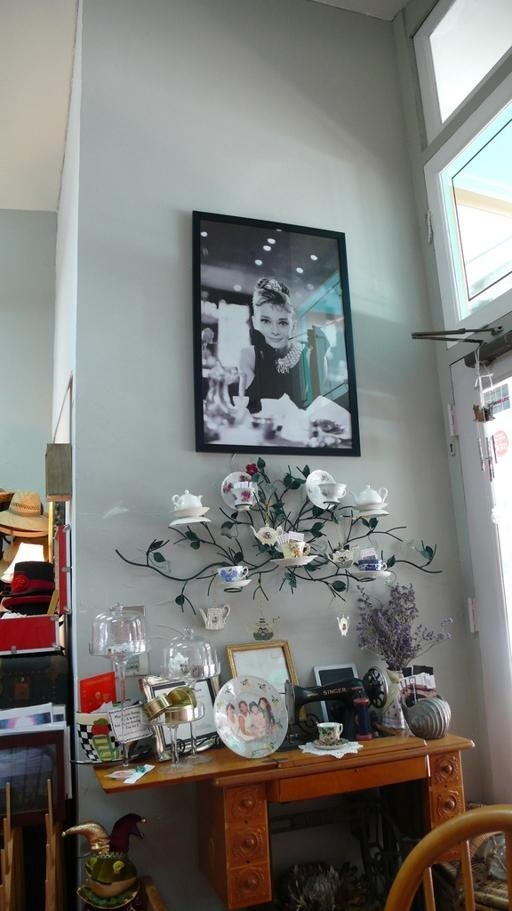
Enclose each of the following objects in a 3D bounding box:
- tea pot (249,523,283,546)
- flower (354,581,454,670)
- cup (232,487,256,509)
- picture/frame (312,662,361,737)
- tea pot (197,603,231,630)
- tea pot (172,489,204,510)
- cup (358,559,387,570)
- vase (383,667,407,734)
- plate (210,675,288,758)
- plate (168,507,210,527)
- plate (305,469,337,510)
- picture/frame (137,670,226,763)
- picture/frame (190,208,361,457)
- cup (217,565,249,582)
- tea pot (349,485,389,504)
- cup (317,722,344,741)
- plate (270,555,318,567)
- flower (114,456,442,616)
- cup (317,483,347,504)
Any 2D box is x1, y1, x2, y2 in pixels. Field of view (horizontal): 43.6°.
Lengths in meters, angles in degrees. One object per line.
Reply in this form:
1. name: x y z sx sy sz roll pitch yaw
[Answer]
1. tea pot: 0.050 0.295 2.436 0.086 0.082 0.037 14 -11 -1
2. flower: 0.555 0.658 2.484 0.278 0.433 0.362 -1 -18 16
3. cup: -0.045 0.153 2.426 0.070 0.070 0.081 2 -17 -8
4. picture/frame: 0.290 0.883 2.336 0.161 0.198 0.324 -4 -7 8
5. tea pot: -0.151 0.583 2.364 0.113 0.096 0.079 5 -23 -13
6. tea pot: -0.243 0.162 2.295 0.091 0.076 0.070 -8 4 -24
7. cup: 0.447 0.421 2.469 0.098 0.046 0.077 -4 -7 3
8. vase: 0.508 0.883 2.330 0.091 0.216 0.087 24 -29 -19
9. plate: -0.017 0.820 1.994 0.208 0.237 0.042 16 -30 -28
10. plate: -0.240 0.222 2.322 0.153 0.064 0.206 -3 -7 -7
11. plate: 0.248 0.133 2.570 0.122 0.144 0.031 2 -16 -25
12. picture/frame: -0.232 0.816 1.983 0.209 0.235 0.111 4 -21 -31
13. picture/frame: 0.057 -0.480 2.663 0.951 1.452 0.055 0 -8 -17
14. cup: -0.084 0.427 2.278 0.057 0.041 0.074 -12 -25 29
15. tea pot: 0.435 0.159 2.556 0.106 0.083 0.073 -4 -5 23
16. cup: 0.242 0.880 2.080 0.073 0.066 0.065 4 -9 -9
17. plate: 0.150 0.402 2.434 0.168 0.052 0.265 -5 -7 4
18. flower: 0.131 0.283 2.478 1.319 0.581 0.279 0 -7 -30
19. cup: 0.295 0.148 2.514 0.090 0.070 0.088 1 -15 0
